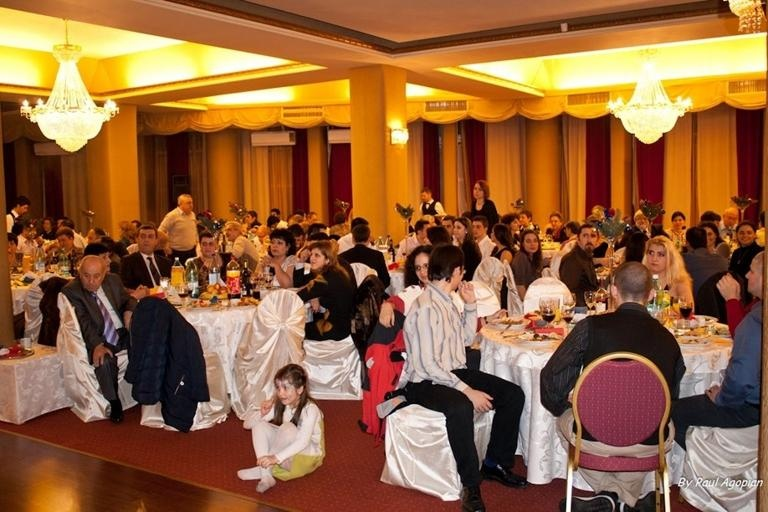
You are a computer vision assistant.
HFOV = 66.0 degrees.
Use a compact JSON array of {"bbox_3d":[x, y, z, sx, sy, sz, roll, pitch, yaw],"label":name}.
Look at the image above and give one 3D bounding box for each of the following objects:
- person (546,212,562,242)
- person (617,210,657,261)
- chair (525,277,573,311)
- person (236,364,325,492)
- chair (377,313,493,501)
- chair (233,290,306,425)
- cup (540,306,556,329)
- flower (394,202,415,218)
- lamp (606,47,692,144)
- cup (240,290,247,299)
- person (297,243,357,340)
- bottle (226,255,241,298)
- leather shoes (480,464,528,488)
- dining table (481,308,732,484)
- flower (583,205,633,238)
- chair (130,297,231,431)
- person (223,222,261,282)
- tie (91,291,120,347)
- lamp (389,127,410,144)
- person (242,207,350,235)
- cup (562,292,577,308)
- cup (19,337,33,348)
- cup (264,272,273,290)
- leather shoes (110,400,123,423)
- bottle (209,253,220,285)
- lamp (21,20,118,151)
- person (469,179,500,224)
[{"bbox_3d":[3.092,-0.520,10.729,0.265,0.476,1.245,0,5,15],"label":"person"},{"bbox_3d":[3.097,-0.135,7.485,0.291,0.842,0.264,12,10,-38],"label":"person"},{"bbox_3d":[1.473,0.379,5.355,0.414,0.326,0.417,-4,-8,39],"label":"chair"},{"bbox_3d":[-0.745,1.248,4.343,0.487,0.826,0.703,2,1,37],"label":"person"},{"bbox_3d":[0.366,1.242,4.255,0.713,0.510,0.601,2,3,34],"label":"chair"},{"bbox_3d":[-1.030,0.857,5.237,0.675,1.095,0.327,10,-3,-22],"label":"chair"},{"bbox_3d":[1.175,0.447,4.305,0.127,0.203,0.122,-2,5,0],"label":"cup"},{"bbox_3d":[0.366,-0.716,9.485,0.262,0.139,0.322,-5,-22,22],"label":"flower"},{"bbox_3d":[4.529,-2.675,10.131,1.184,1.585,1.227,1,-1,0],"label":"lamp"},{"bbox_3d":[-1.381,0.371,5.782,0.060,0.071,0.065,2,-6,0],"label":"cup"},{"bbox_3d":[-0.543,0.347,5.614,0.506,0.960,0.415,-1,6,9],"label":"person"},{"bbox_3d":[-1.493,0.227,5.855,0.141,0.328,0.330,-3,5,-15],"label":"bottle"},{"bbox_3d":[0.833,1.555,4.231,0.342,0.163,0.128,3,11,27],"label":"leather shoes"},{"bbox_3d":[1.300,1.022,4.568,1.201,0.747,1.230,-1,-2,-3],"label":"dining table"},{"bbox_3d":[1.864,-0.260,4.921,0.215,0.254,0.326,-1,5,13],"label":"flower"},{"bbox_3d":[-1.896,0.874,5.168,0.832,1.097,0.661,-1,5,29],"label":"chair"},{"bbox_3d":[-1.919,0.047,7.864,0.334,1.032,0.376,-5,29,-26],"label":"person"},{"bbox_3d":[-2.562,0.624,5.456,0.154,0.610,0.069,-25,42,-30],"label":"tie"},{"bbox_3d":[0.260,-2.051,10.160,0.176,0.284,0.401,2,7,35],"label":"lamp"},{"bbox_3d":[-1.622,-0.662,11.196,1.431,0.550,1.110,0,-1,7],"label":"person"},{"bbox_3d":[1.518,0.368,4.878,0.095,0.123,0.120,5,12,25],"label":"cup"},{"bbox_3d":[-3.299,0.797,5.454,0.076,0.093,0.096,1,-2,-2],"label":"cup"},{"bbox_3d":[-1.191,0.264,6.099,0.129,0.193,0.117,-5,-5,42],"label":"cup"},{"bbox_3d":[-2.384,1.391,5.259,0.094,0.088,0.198,4,1,-30],"label":"leather shoes"},{"bbox_3d":[-1.761,0.144,6.095,0.124,0.275,0.683,-4,5,-17],"label":"bottle"},{"bbox_3d":[-4.792,-2.609,8.924,1.316,1.921,0.932,2,7,33],"label":"lamp"},{"bbox_3d":[1.659,-0.868,9.927,0.448,0.779,1.153,-1,5,11],"label":"person"}]
